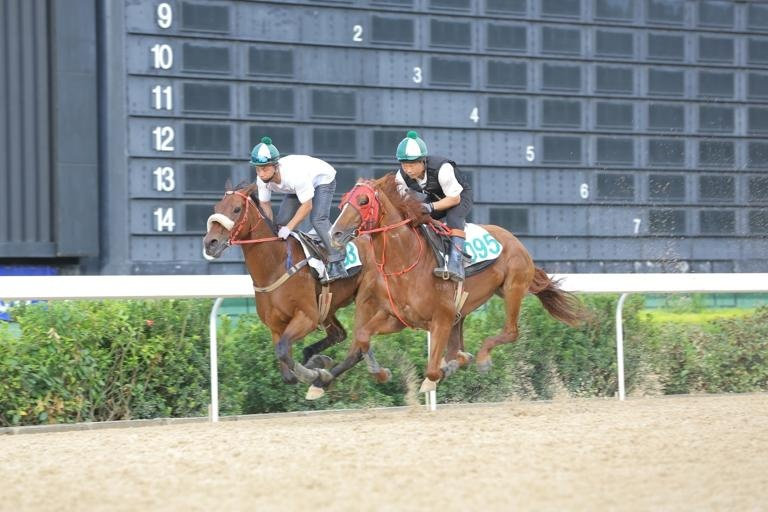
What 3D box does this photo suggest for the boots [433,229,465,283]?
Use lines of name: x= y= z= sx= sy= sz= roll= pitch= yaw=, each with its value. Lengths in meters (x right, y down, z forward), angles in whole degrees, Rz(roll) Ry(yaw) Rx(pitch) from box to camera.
boots: x=0.551 y=0.022 z=14.285 sx=0.338 sy=0.472 sz=0.167 roll=12 pitch=-40 yaw=-3

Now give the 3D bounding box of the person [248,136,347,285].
person: x=-0.729 y=-0.446 z=14.665 sx=0.794 sy=1.334 sz=0.891 roll=-2 pitch=14 yaw=24

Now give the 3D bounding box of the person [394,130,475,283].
person: x=0.418 y=-0.477 z=14.672 sx=0.704 sy=1.287 sz=0.872 roll=-1 pitch=10 yaw=35

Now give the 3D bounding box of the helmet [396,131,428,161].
helmet: x=0.240 y=-0.974 z=14.512 sx=0.248 sy=0.209 sz=0.325 roll=0 pitch=15 yaw=11

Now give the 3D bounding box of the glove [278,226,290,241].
glove: x=-0.890 y=-0.191 z=14.330 sx=0.088 sy=0.114 sz=0.035 roll=9 pitch=-9 yaw=-2

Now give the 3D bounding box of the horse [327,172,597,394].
horse: x=0.809 y=0.203 z=14.932 sx=3.367 sy=2.014 sz=0.799 roll=-6 pitch=5 yaw=-43

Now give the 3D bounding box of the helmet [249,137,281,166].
helmet: x=-1.067 y=-0.926 z=14.407 sx=0.227 sy=0.262 sz=0.142 roll=-3 pitch=-4 yaw=1

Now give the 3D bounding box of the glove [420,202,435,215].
glove: x=0.378 y=-0.423 z=14.396 sx=0.078 sy=0.102 sz=0.045 roll=11 pitch=-33 yaw=-9
